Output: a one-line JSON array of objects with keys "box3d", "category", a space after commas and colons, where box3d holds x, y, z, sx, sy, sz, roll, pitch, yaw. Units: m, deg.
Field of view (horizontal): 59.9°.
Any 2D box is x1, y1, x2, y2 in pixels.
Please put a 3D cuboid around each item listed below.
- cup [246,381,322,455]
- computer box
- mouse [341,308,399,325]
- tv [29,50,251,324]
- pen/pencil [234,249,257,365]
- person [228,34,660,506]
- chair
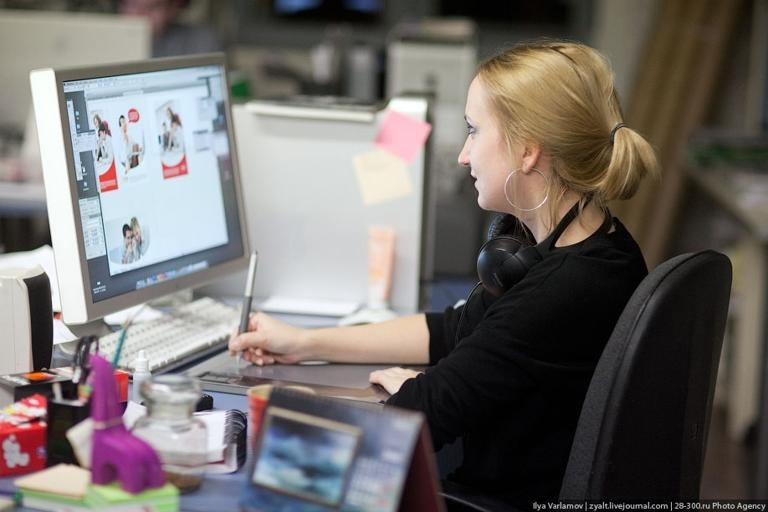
[{"box3d": [-0.169, 0.250, 1.111, 0.130, 0.116, 0.144, 1, 0, 2], "category": "cup"}, {"box3d": [-0.122, -0.192, 2.157, 0.703, 0.701, 0.422, 4, 12, 8], "category": "computer box"}, {"box3d": [-0.039, 0.147, 1.710, 0.101, 0.037, 0.056, -2, -2, 6], "category": "mouse"}, {"box3d": [-0.527, -0.143, 1.507, 0.103, 0.540, 0.634, 3, 15, 30], "category": "tv"}, {"box3d": [-0.327, 0.123, 1.605, 0.021, 0.267, 0.022, 11, -1, 7], "category": "pen/pencil"}, {"box3d": [0.222, -0.021, 2.256, 1.105, 1.889, 0.694, 8, 3, 18], "category": "person"}, {"box3d": [0.468, 0.193, 1.527, 0.530, 0.635, 0.447, 7, 4, 43], "category": "chair"}]
